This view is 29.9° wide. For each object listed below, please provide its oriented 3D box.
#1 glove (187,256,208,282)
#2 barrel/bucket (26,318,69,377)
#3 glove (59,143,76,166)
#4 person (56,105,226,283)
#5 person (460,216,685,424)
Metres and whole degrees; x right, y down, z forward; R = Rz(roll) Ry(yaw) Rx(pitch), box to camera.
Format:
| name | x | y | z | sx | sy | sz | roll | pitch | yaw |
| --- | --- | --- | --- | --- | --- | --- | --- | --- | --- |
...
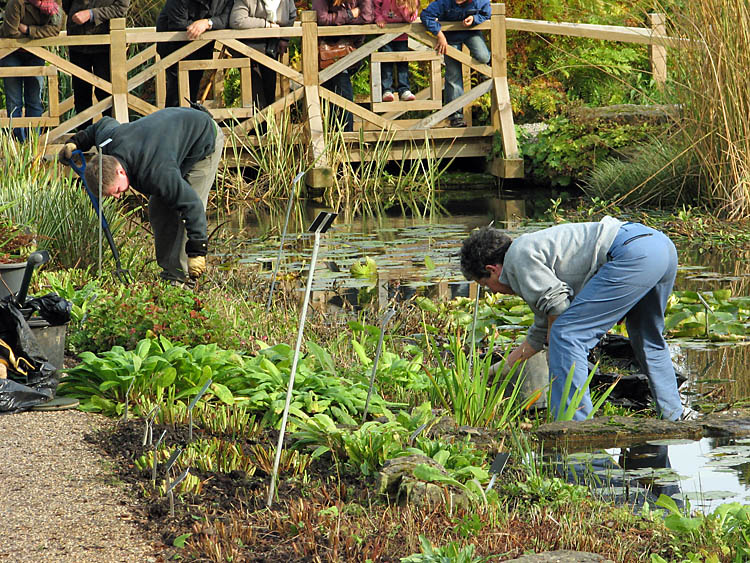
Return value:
| name | x | y | z | sx | sy | sz | roll | pitch | yaw |
| --- | --- | --- | --- | --- | --- | --- | --- | --- | --- |
| glove | -1.428 | -0.110 | 11.331 | 0.125 | 0.116 | 0.193 | 12 | 44 | 0 |
| barrel/bucket | -2.119 | 0.411 | 9.164 | 0.211 | 0.369 | 0.190 | -1 | 11 | 0 |
| glove | -2.403 | -1.031 | 11.103 | 0.055 | 0.180 | 0.126 | 23 | -26 | -12 |
| person | -1.741 | -0.663 | 11.063 | 1.178 | 1.360 | 1.122 | -3 | 11 | -12 |
| person | 1.365 | 0.258 | 9.163 | 1.459 | 1.298 | 0.576 | -3 | 11 | -12 |
